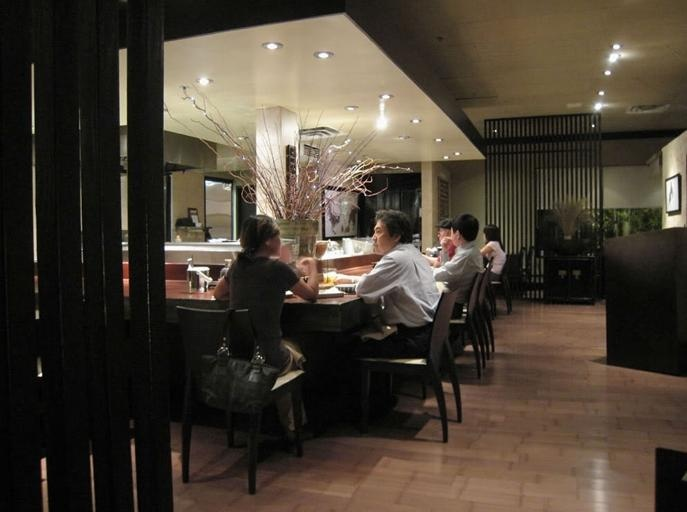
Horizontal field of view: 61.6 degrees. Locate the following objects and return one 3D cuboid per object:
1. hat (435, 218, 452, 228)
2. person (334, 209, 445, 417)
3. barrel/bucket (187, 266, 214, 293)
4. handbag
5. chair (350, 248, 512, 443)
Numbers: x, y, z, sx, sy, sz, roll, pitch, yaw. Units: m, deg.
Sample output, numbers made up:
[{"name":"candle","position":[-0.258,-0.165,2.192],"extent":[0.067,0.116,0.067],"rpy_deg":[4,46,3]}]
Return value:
[{"name":"hat","position":[1.017,-0.333,5.877],"extent":[0.136,0.074,0.103],"rpy_deg":[14,14,34]},{"name":"person","position":[0.327,0.159,3.621],"extent":[0.531,0.885,0.585],"rpy_deg":[1,5,10]},{"name":"barrel/bucket","position":[-0.942,0.147,3.828],"extent":[0.179,0.164,0.149],"rpy_deg":[2,-2,-32]},{"name":"handbag","position":[-0.495,0.604,2.760],"extent":[0.391,0.298,0.080],"rpy_deg":[10,2,19]},{"name":"chair","position":[0.737,0.530,4.085],"extent":[0.972,1.680,0.988],"rpy_deg":[1,-2,18]}]
